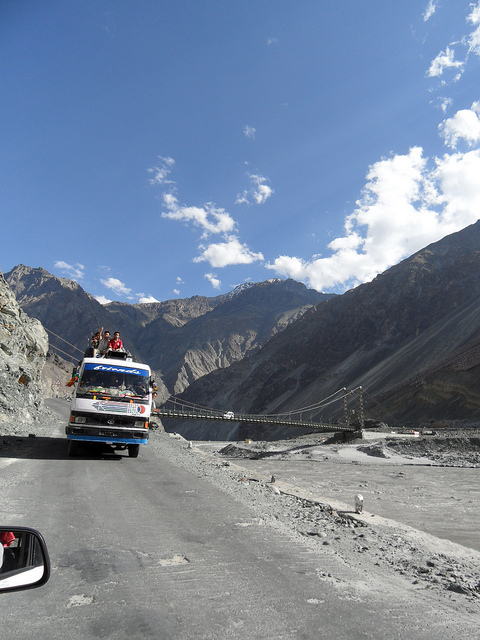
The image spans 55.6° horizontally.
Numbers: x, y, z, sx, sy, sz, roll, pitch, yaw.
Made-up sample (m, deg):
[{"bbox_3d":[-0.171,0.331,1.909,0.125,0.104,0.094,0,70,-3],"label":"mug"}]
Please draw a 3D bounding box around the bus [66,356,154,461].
[{"bbox_3d":[-4.994,2.844,16.373,2.501,2.978,5.147,11,-8,-23],"label":"bus"}]
